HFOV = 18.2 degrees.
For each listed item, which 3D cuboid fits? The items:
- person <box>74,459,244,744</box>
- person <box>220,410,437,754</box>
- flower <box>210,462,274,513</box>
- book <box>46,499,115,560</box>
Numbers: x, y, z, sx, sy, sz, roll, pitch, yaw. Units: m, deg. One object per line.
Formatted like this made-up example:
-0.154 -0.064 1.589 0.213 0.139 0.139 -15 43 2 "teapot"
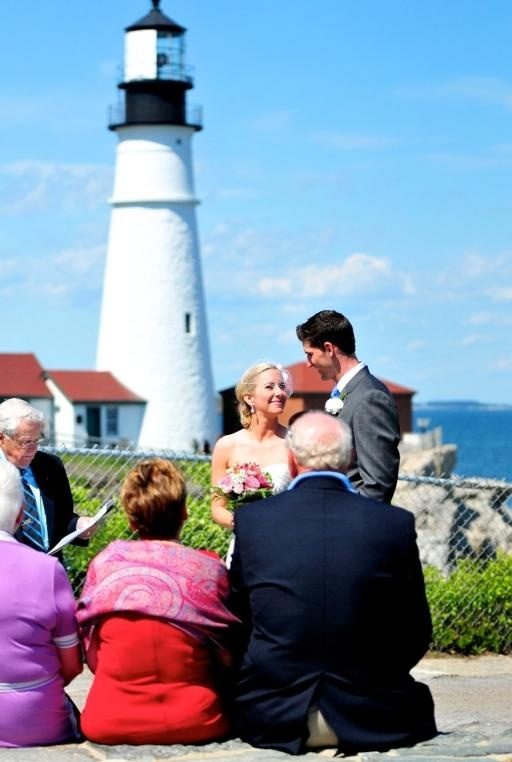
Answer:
-0.444 1.023 7.346 0.950 1.219 0.944 -1 1 24 "person"
0.328 0.899 7.032 0.871 1.485 0.373 0 -4 -1 "person"
-0.080 0.560 8.409 0.259 0.233 0.259 -2 4 13 "flower"
-0.848 0.739 7.811 0.363 0.128 0.272 -43 -14 1 "book"
